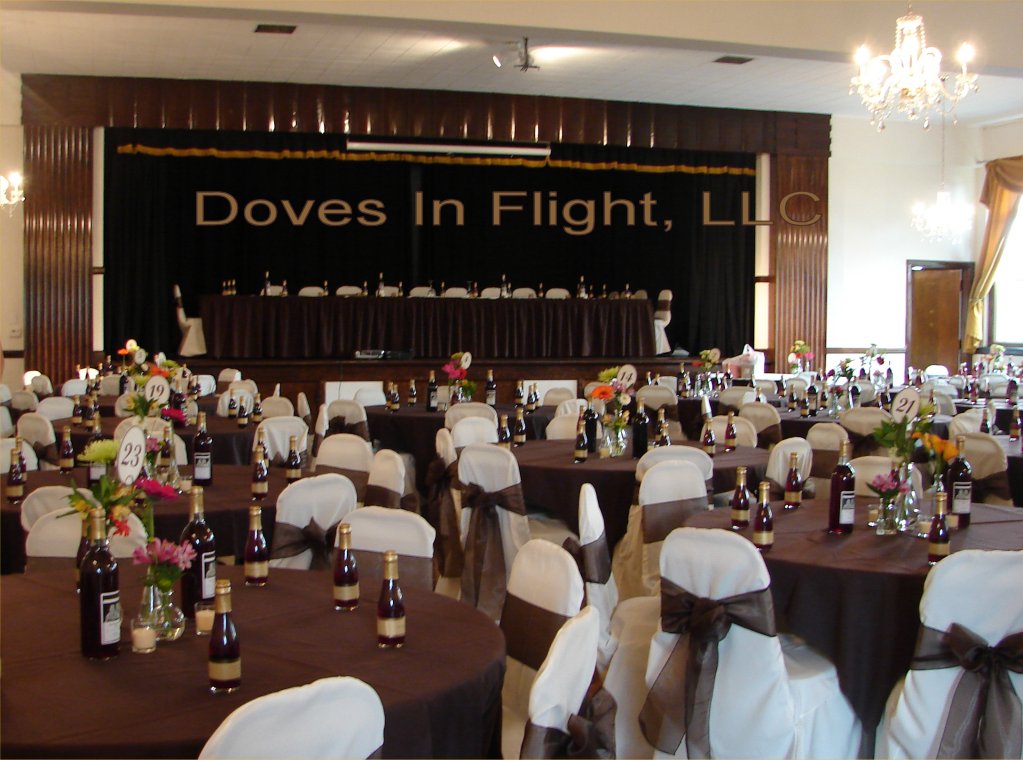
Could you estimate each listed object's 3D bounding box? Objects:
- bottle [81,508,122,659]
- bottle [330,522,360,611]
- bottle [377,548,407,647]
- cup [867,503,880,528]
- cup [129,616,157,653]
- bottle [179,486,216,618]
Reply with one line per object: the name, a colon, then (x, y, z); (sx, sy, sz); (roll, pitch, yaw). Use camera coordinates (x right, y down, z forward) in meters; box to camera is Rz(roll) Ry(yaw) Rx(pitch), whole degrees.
bottle: (-1.145, 0.556, 2.350); (0.102, 0.416, 0.123); (-1, 2, -28)
bottle: (-0.529, 0.577, 2.704); (0.089, 0.290, 0.335); (-1, 1, -12)
bottle: (-0.352, 0.618, 2.459); (0.085, 0.281, 0.174); (-1, 1, -8)
cup: (1.539, 0.579, 3.602); (0.057, 0.090, 0.066); (2, 7, 11)
cup: (-1.032, 0.727, 2.415); (0.075, 0.105, 0.084); (2, -3, -6)
bottle: (-0.960, 0.524, 2.582); (0.094, 0.417, 0.348); (-1, 1, -22)
